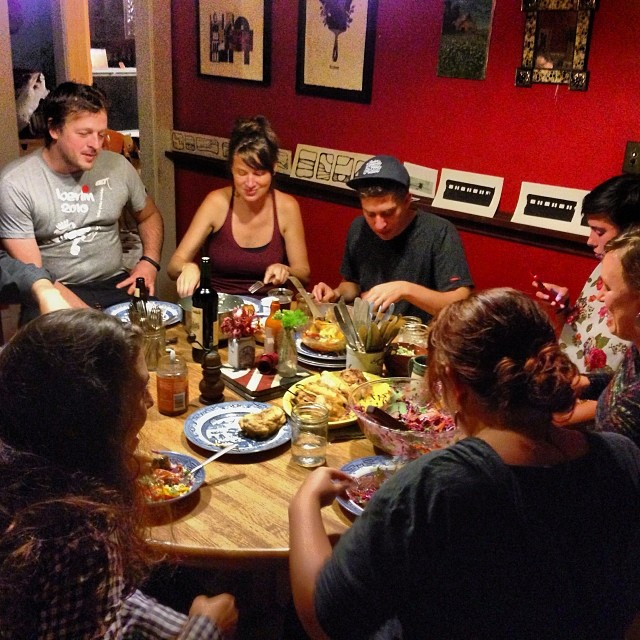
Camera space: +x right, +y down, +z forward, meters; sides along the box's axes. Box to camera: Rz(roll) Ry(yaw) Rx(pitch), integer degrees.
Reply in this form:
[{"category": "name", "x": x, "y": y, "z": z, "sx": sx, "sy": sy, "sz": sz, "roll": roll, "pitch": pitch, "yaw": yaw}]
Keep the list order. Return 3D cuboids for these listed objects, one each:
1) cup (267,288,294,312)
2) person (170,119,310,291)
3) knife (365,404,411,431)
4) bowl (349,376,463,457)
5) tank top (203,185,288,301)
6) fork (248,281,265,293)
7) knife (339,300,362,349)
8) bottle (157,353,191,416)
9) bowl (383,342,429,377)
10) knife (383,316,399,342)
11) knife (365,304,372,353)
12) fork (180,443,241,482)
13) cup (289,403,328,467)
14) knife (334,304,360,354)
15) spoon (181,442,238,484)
[{"category": "cup", "x": -0.180, "y": -0.096, "z": 2.546, "sx": 0.111, "sy": 0.079, "sz": 0.106, "roll": 1, "pitch": 10, "yaw": 0}, {"category": "person", "x": -0.430, "y": -0.633, "z": 3.079, "sx": 0.804, "sy": 0.931, "sz": 0.778, "roll": 0, "pitch": 23, "yaw": -16}, {"category": "knife", "x": 0.194, "y": 0.288, "z": 1.596, "sx": 0.146, "sy": 0.032, "sz": 0.024, "roll": 26, "pitch": 59, "yaw": -13}, {"category": "bowl", "x": 0.276, "y": 0.293, "z": 1.652, "sx": 0.330, "sy": 0.161, "sz": 0.298, "roll": -11, "pitch": 28, "yaw": -17}, {"category": "tank top", "x": -0.438, "y": -0.473, "z": 3.257, "sx": 0.463, "sy": 0.532, "sz": 0.336, "roll": 3, "pitch": 23, "yaw": -10}, {"category": "fork", "x": -0.301, "y": -0.160, "z": 2.654, "sx": 0.088, "sy": 0.020, "sz": 0.053, "roll": -33, "pitch": 27, "yaw": -27}, {"category": "knife", "x": 0.114, "y": 0.001, "z": 1.993, "sx": 0.042, "sy": 0.282, "sz": 0.013, "roll": -23, "pitch": 42, "yaw": -5}, {"category": "bottle", "x": -0.487, "y": 0.223, "z": 1.824, "sx": 0.124, "sy": 0.168, "sz": 0.119, "roll": -2, "pitch": 5, "yaw": 0}, {"category": "bowl", "x": 0.309, "y": 0.144, "z": 2.066, "sx": 0.161, "sy": 0.072, "sz": 0.156, "roll": 1, "pitch": 19, "yaw": 0}, {"category": "knife", "x": 0.243, "y": 0.026, "z": 1.988, "sx": 0.027, "sy": 0.125, "sz": 0.023, "roll": 37, "pitch": 31, "yaw": 13}, {"category": "knife", "x": 0.178, "y": 0.031, "z": 1.986, "sx": 0.021, "sy": 0.183, "sz": 0.018, "roll": 0, "pitch": -24, "yaw": 9}, {"category": "fork", "x": -0.308, "y": 0.391, "z": 1.505, "sx": 0.216, "sy": 0.038, "sz": 0.030, "roll": -29, "pitch": -5, "yaw": -6}, {"category": "cup", "x": -0.038, "y": 0.356, "z": 1.609, "sx": 0.121, "sy": 0.164, "sz": 0.104, "roll": -2, "pitch": -3, "yaw": -11}, {"category": "knife", "x": 0.102, "y": 0.037, "z": 2.057, "sx": 0.029, "sy": 0.256, "sz": 0.030, "roll": -14, "pitch": 37, "yaw": 24}, {"category": "spoon", "x": -0.309, "y": 0.394, "z": 1.494, "sx": 0.199, "sy": 0.039, "sz": 0.027, "roll": -38, "pitch": 20, "yaw": -10}]
